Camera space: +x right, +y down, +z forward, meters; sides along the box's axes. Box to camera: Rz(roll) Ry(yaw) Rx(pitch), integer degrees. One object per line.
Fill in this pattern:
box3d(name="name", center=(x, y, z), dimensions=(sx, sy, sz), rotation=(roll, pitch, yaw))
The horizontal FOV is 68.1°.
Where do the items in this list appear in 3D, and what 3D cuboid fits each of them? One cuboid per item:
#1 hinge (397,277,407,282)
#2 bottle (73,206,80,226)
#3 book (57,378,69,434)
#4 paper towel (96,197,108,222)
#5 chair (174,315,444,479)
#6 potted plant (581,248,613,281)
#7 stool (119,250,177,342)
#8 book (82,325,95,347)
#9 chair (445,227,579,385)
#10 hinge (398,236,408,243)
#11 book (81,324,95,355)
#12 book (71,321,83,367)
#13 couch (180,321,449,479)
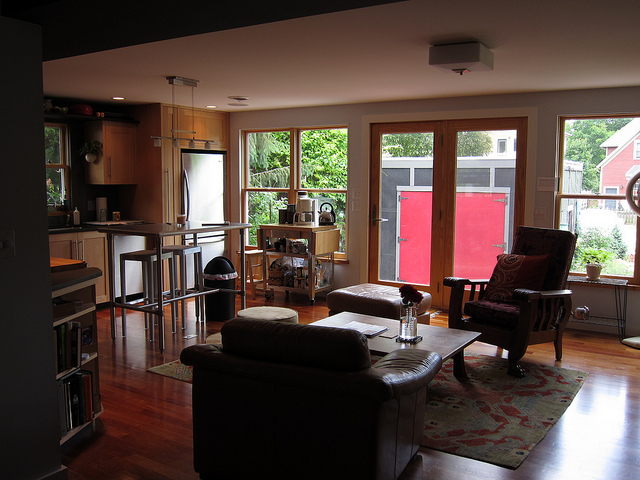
box3d(name="hinge", center=(1.137, 0.545, 6.529), dimensions=(0.112, 0.056, 0.039), rotation=(1, 8, 7))
box3d(name="bottle", center=(-3.339, -0.331, 6.488), dimensions=(0.083, 0.250, 0.238), rotation=(-4, 9, -28))
box3d(name="book", center=(-1.615, 1.045, 2.971), dimensions=(0.034, 0.372, 0.081), rotation=(-3, 9, -23))
box3d(name="paper towel", center=(-3.125, -0.449, 6.787), dimensions=(0.140, 0.316, 0.097), rotation=(-6, 10, -35))
box3d(name="chair", center=(0.043, 0.795, 2.729), dimensions=(1.346, 0.872, 0.954), rotation=(1, 3, 27))
box3d(name="potted plant", center=(3.206, 0.291, 5.519), dimensions=(0.348, 0.380, 0.398), rotation=(4, -3, -42))
box3d(name="stool", center=(-1.796, 0.582, 5.077), dimensions=(0.548, 0.893, 0.505), rotation=(0, 3, 5))
box3d(name="book", center=(-1.620, 0.665, 3.309), dimensions=(0.036, 0.131, 0.102), rotation=(5, 9, 26))
box3d(name="chair", center=(1.886, 0.553, 4.578), dimensions=(1.548, 1.257, 0.834), rotation=(-6, 11, -39))
box3d(name="hinge", center=(1.134, -0.004, 6.448), dimensions=(0.109, 0.076, 0.063), rotation=(3, 6, 14))
box3d(name="book", center=(-1.615, 0.686, 3.299), dimensions=(0.076, 0.176, 0.112), rotation=(-4, 9, -24))
box3d(name="book", center=(-1.553, 0.665, 3.027), dimensions=(0.036, 0.304, 0.068), rotation=(3, 9, 17))
box3d(name="couch", center=(-0.042, 0.543, 2.716), dimensions=(1.536, 1.000, 0.894), rotation=(1, 4, 23))
